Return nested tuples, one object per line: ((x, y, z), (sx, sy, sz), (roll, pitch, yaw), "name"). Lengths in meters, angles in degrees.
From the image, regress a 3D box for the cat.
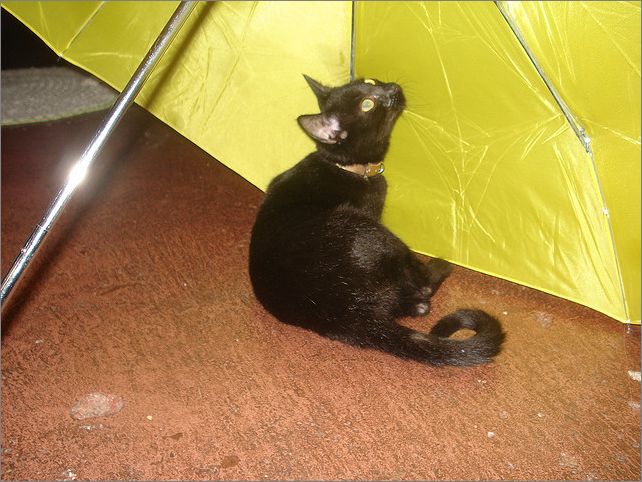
((0.277, 0.075, 3.311), (0.873, 0.842, 1.783), (-1, 61, 9), "cat")
